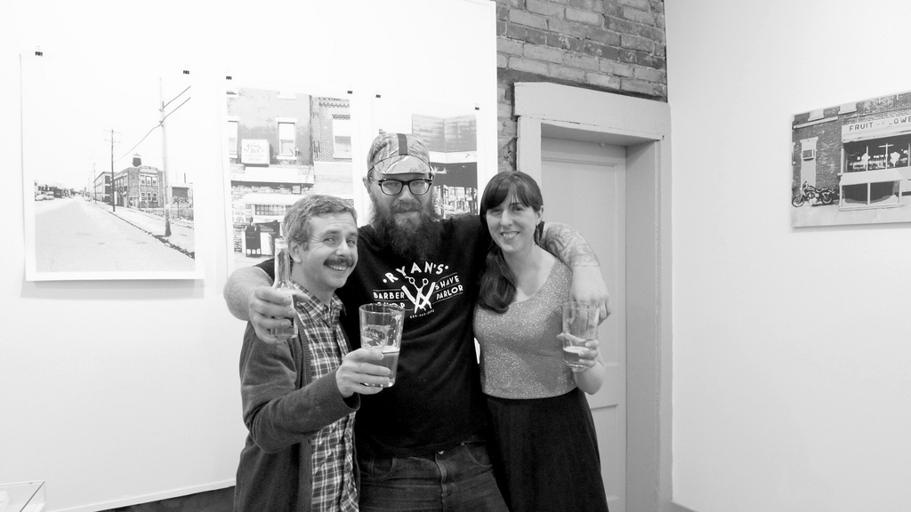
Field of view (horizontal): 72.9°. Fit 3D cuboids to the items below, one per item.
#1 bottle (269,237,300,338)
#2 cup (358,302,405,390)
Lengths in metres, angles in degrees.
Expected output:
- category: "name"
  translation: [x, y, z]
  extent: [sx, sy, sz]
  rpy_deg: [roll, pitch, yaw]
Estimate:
- category: "bottle"
  translation: [-0.814, 0.157, 2.951]
  extent: [0.104, 0.474, 0.325]
  rpy_deg: [0, 4, -13]
- category: "cup"
  translation: [-0.341, 0.401, 2.825]
  extent: [0.188, 0.362, 0.145]
  rpy_deg: [0, 4, -10]
